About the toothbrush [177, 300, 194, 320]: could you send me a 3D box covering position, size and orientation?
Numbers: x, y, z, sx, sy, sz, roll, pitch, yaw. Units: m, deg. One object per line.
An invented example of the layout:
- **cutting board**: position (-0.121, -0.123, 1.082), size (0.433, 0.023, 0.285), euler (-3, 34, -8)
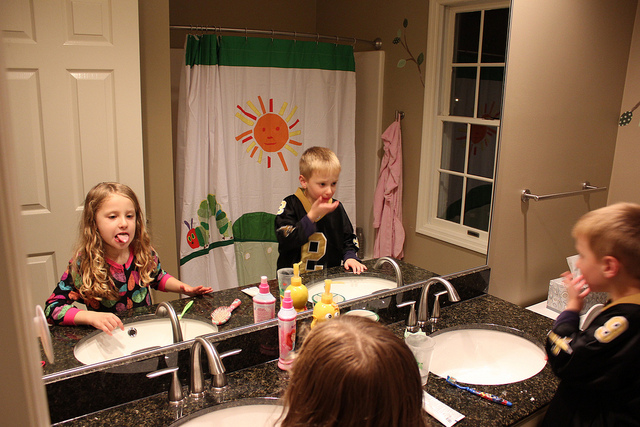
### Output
- **toothbrush**: position (-0.469, 0.339, 1.554), size (0.012, 0.022, 0.066), euler (-6, 47, 49)

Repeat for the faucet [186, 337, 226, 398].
- **faucet**: position (-0.361, 0.491, 1.404), size (0.134, 0.205, 0.068), euler (7, 13, 27)

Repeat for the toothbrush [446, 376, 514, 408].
- **toothbrush**: position (0.544, 0.606, 1.502), size (0.198, 0.028, 0.023), euler (12, 24, 19)

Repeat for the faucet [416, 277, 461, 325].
- **faucet**: position (0.478, 0.365, 1.810), size (0.174, 0.228, 0.057), euler (4, 20, 29)

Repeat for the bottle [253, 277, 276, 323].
- **bottle**: position (-0.203, 0.312, 1.644), size (0.101, 0.165, 0.060), euler (-9, 16, -22)

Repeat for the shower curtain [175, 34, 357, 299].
- **shower curtain**: position (-0.187, -0.190, 1.647), size (0.750, 0.889, 0.064), euler (-11, 17, -30)
